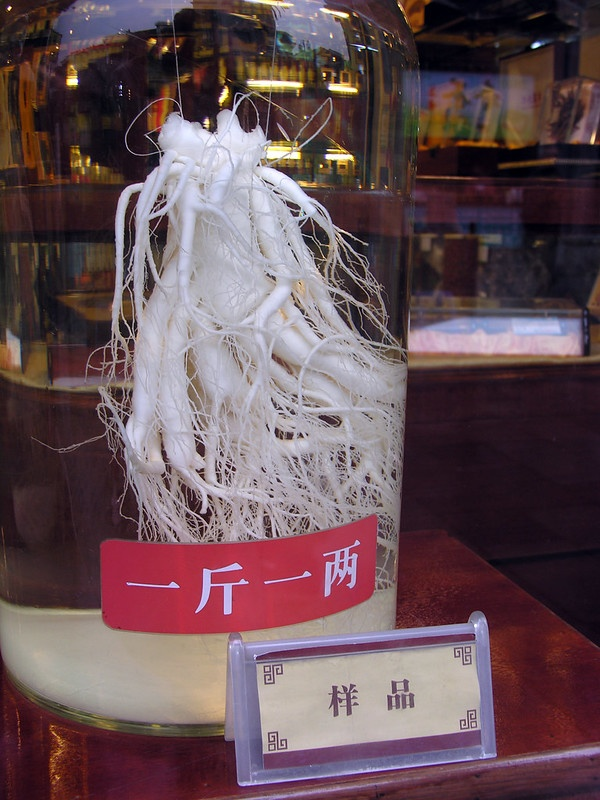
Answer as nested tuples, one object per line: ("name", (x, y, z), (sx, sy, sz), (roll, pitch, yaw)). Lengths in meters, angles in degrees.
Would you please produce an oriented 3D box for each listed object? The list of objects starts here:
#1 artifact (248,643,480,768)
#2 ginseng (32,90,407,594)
("artifact", (0.033, 0.186, 0.463), (0.099, 0.048, 0.013), (-3, 8, -6))
("ginseng", (-0.055, -0.037, 0.521), (0.198, 0.271, 0.122), (-16, 10, -33))
